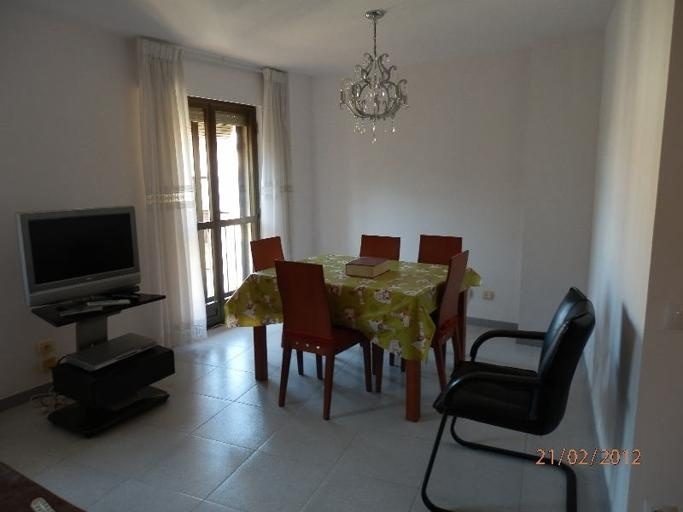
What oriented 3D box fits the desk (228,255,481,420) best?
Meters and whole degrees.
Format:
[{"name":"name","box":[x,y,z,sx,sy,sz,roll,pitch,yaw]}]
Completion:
[{"name":"desk","box":[0.156,0.371,3.686,1.335,0.698,1.292,2,7,26]}]

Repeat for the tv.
[{"name":"tv","box":[-1.935,0.002,3.722,0.066,0.585,0.646,3,12,38]}]

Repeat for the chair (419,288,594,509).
[{"name":"chair","box":[1.012,0.796,3.555,1.126,1.736,1.167,4,10,22]}]

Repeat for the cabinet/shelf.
[{"name":"cabinet/shelf","box":[-1.635,0.810,3.980,0.823,1.123,1.074,6,11,26]}]

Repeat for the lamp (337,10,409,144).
[{"name":"lamp","box":[0.259,-1.443,4.133,0.569,1.009,0.560,7,11,39]}]
